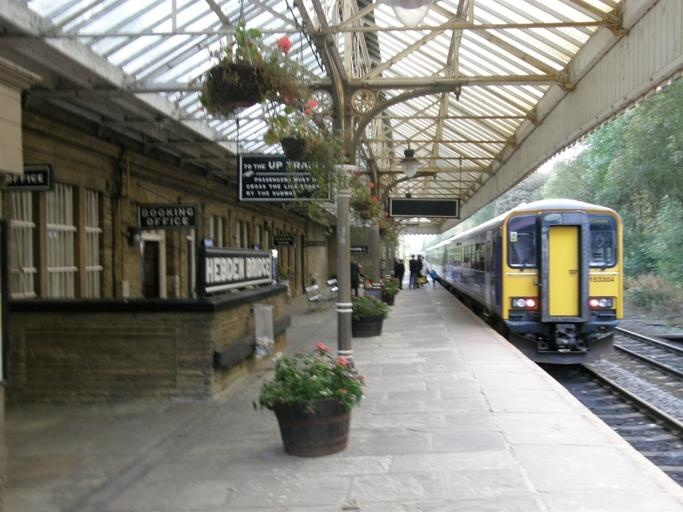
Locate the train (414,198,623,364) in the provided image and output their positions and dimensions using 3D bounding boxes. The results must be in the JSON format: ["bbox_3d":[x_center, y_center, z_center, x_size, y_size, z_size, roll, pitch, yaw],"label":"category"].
[{"bbox_3d":[4.390,0.414,15.271,2.178,3.672,6.983,-1,7,1],"label":"train"}]

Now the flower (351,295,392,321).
[{"bbox_3d":[0.634,1.195,13.880,0.542,0.364,0.570,2,-1,13],"label":"flower"}]

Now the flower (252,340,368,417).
[{"bbox_3d":[-0.260,1.457,6.887,1.025,0.649,1.339,4,-3,29],"label":"flower"}]

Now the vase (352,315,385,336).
[{"bbox_3d":[0.590,1.546,13.742,0.534,0.355,0.489,1,-4,-7],"label":"vase"}]

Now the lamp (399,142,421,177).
[{"bbox_3d":[1.638,-2.205,14.744,0.459,0.710,0.482,-3,-5,16],"label":"lamp"}]

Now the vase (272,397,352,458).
[{"bbox_3d":[-0.365,1.896,6.718,0.800,0.528,0.827,-6,-12,4],"label":"vase"}]
